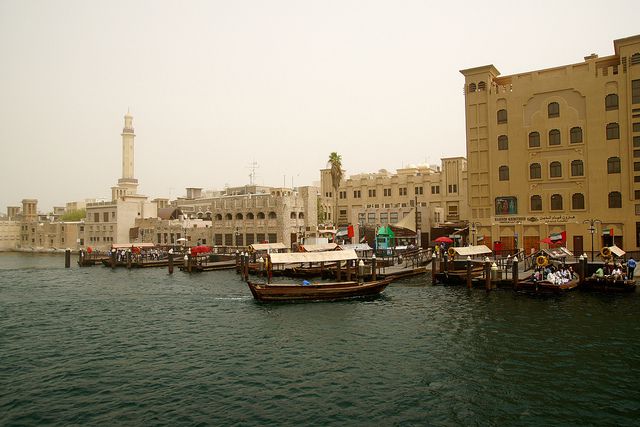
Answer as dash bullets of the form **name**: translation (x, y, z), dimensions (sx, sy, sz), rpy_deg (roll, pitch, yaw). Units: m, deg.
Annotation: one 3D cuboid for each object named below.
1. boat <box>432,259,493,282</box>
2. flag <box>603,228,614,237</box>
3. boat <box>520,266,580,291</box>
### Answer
- **boat**: translation (17.231, 7.158, 73.901), dimensions (5.782, 2.905, 7.579), rpy_deg (-2, -4, 10)
- **flag**: translation (37.730, 2.473, 78.285), dimensions (1.234, 0.962, 0.121), rpy_deg (1, 3, 21)
- **boat**: translation (26.187, 7.451, 66.380), dimensions (5.483, 1.886, 3.197), rpy_deg (0, -1, -39)
